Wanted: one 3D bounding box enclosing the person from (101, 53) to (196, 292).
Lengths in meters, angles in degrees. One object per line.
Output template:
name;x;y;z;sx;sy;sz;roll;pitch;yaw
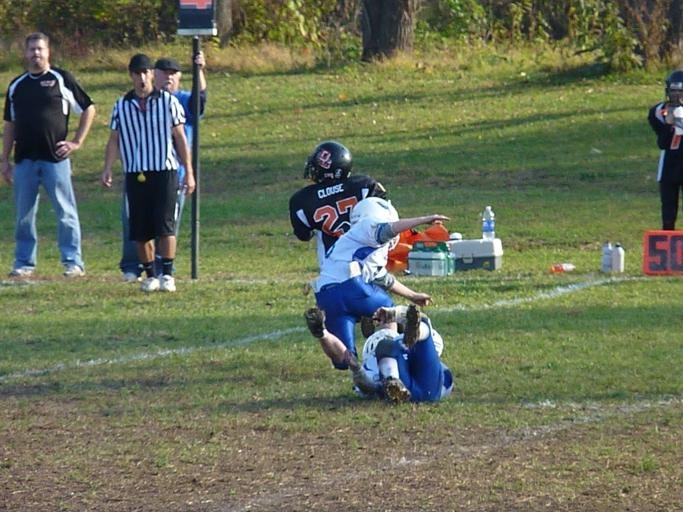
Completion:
person;-3.143;-1.337;30.953;1.388;3.937;0.522;-1;2;-6

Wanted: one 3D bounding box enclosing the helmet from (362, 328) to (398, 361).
helmet;0.625;1.348;27.952;0.555;0.453;0.402;-1;2;-1

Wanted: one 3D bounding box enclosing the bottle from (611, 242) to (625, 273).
bottle;4.807;0.064;32.045;0.203;0.480;0.274;-1;2;2

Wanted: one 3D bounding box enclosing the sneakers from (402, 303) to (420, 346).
sneakers;1.090;1.052;27.548;0.236;0.581;0.253;6;-2;6

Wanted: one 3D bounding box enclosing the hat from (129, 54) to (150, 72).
hat;-3.321;-3.159;30.889;0.342;0.306;0.302;-1;2;1

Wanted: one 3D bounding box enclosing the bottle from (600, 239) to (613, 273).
bottle;4.637;0.046;32.141;0.200;0.509;0.362;-1;2;8
